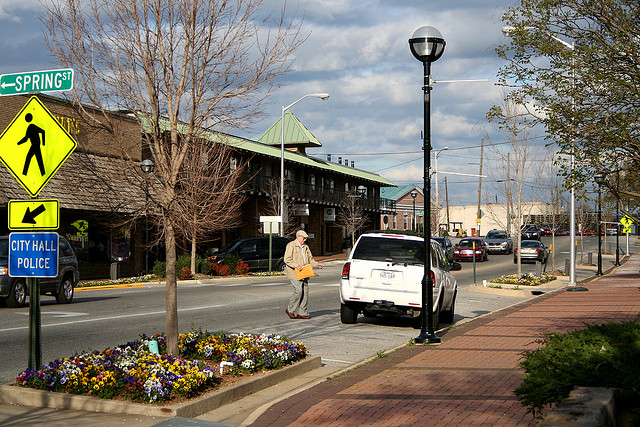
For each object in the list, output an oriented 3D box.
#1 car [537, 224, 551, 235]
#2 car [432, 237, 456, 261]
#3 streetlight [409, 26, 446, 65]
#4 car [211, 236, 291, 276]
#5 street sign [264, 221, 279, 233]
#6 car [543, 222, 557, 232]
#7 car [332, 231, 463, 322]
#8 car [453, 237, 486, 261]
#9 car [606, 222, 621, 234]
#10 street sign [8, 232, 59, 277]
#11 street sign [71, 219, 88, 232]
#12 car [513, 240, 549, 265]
[{"bbox_3d":[27.114,2.008,90.878,1.250,0.686,2.249,0,-6,2],"label":"car"},{"bbox_3d":[7.020,2.001,43.095,1.207,0.972,2.666,-2,-7,21],"label":"car"},{"bbox_3d":[2.400,-3.763,16.842,0.825,0.909,0.855,1,4,-10],"label":"streetlight"},{"bbox_3d":[-3.146,1.860,35.637,4.014,1.530,1.847,3,-5,-27],"label":"car"},{"bbox_3d":[-2.212,0.609,34.293,0.825,0.749,0.442,0,-3,-2],"label":"street sign"},{"bbox_3d":[23.660,1.428,77.527,1.026,0.829,1.704,2,6,12],"label":"car"},{"bbox_3d":[1.899,1.538,18.130,1.733,1.419,3.197,0,0,19],"label":"car"},{"bbox_3d":[8.944,2.125,45.747,1.639,1.263,3.915,-2,-5,19],"label":"car"},{"bbox_3d":[38.190,1.913,98.092,1.636,1.563,2.848,-3,-6,35],"label":"car"},{"bbox_3d":[-4.589,0.659,12.067,0.721,0.641,0.076,0,-3,8],"label":"street sign"},{"bbox_3d":[-10.405,0.463,32.751,0.182,0.391,0.613,-1,-3,35],"label":"street sign"},{"bbox_3d":[12.354,2.247,44.173,1.764,1.459,2.694,-4,-5,18],"label":"car"}]
